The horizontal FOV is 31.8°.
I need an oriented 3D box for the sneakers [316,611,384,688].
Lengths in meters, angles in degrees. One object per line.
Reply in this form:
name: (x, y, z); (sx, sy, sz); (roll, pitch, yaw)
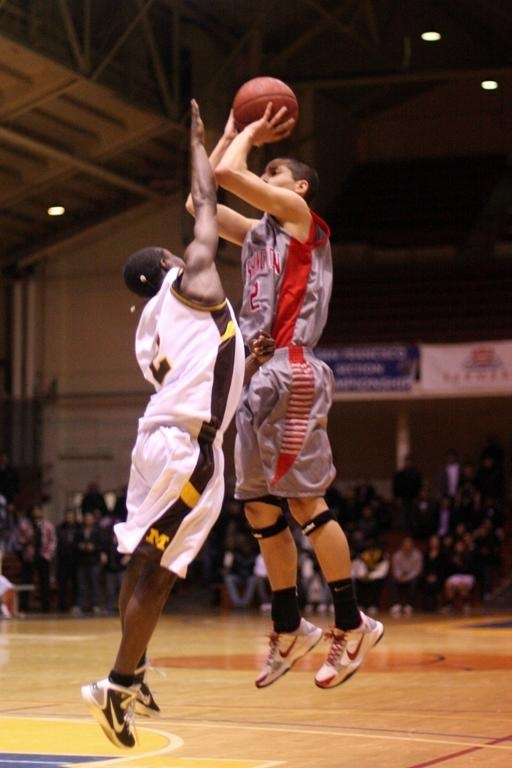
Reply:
sneakers: (0.331, 0.965, 3.263); (0.171, 0.268, 0.232); (-3, -7, 36)

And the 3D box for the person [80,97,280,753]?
person: (-0.246, 0.016, 2.749); (0.410, 2.029, 0.505); (2, -6, 0)

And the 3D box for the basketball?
basketball: (0.023, -1.073, 3.533); (0.269, 0.233, 0.248); (8, 29, 20)

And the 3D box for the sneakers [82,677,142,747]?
sneakers: (-0.393, 0.918, 2.488); (0.129, 0.219, 0.196); (0, -6, 14)
